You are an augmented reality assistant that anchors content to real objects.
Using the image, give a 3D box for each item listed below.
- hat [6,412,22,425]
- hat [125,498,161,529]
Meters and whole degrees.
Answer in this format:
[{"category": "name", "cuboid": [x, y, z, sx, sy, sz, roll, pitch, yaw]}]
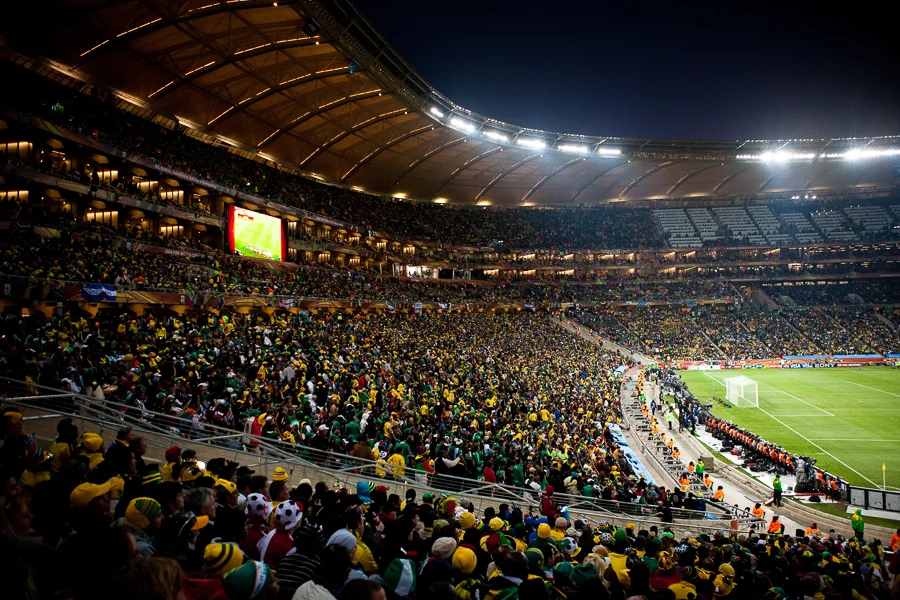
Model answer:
[{"category": "hat", "cuboid": [-13.729, 3.685, 19.915, 0.421, 0.365, 0.348, 9, -10, -32]}, {"category": "hat", "cuboid": [-8.789, 6.072, 18.404, 1.089, 0.749, 0.733, -3, 11, -36]}]
